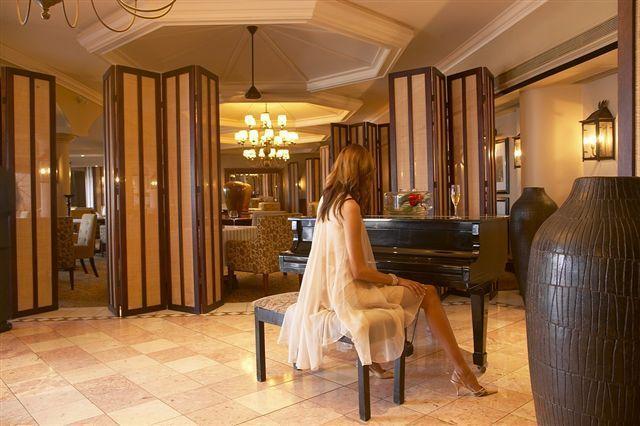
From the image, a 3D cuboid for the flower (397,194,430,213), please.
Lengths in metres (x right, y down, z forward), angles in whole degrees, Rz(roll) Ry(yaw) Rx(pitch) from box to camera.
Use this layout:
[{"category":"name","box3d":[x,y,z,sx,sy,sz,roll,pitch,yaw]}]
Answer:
[{"category":"flower","box3d":[0.875,-0.082,4.494,0.207,0.136,0.207,1,-3,5]}]

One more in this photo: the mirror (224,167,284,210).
[{"category":"mirror","box3d":[-1.967,-0.868,14.365,1.964,1.595,0.138,-1,6,-10]}]

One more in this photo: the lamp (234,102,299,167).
[{"category":"lamp","box3d":[-1.301,-2.162,11.756,1.728,2.140,1.710,0,-6,-5]}]

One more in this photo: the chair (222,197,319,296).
[{"category":"chair","box3d":[-0.639,0.499,7.250,1.073,1.542,1.144,1,3,32]}]
